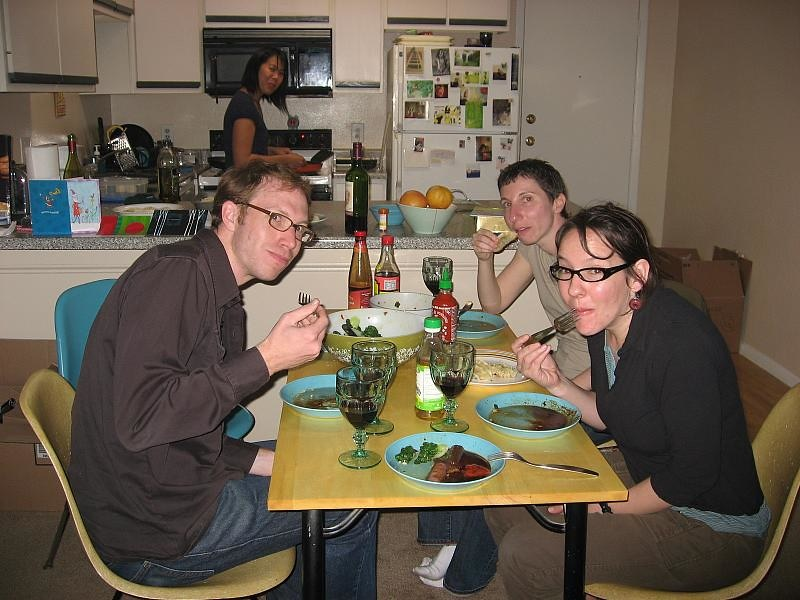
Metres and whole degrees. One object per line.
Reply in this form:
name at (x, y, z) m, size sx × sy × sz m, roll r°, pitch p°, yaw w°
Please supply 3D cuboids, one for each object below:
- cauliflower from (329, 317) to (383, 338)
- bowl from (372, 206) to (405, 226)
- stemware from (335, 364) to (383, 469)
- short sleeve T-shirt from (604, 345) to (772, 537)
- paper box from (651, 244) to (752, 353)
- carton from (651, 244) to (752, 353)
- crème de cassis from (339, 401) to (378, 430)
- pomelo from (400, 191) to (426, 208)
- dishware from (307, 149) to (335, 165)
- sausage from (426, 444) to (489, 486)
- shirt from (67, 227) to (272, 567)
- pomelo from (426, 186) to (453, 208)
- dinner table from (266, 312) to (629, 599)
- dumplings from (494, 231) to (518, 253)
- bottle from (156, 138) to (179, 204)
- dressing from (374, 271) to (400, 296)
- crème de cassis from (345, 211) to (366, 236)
cauliflower at (-0.136, 0.094, 2.046) m, size 0.082 × 0.024 × 0.082 m, roll -3°, pitch 18°, yaw -31°
bowl at (-0.052, -0.411, 3.061) m, size 0.130 × 0.052 × 0.133 m, roll 0°, pitch 23°, yaw 0°
stemware at (-0.097, 0.286, 1.580) m, size 0.119 × 0.220 × 0.119 m, roll 3°, pitch 3°, yaw 13°
short sleeve T-shirt at (0.764, 0.386, 1.898) m, size 0.494 × 0.498 × 0.349 m, roll -2°, pitch 10°, yaw 16°
paper box at (2.025, 0.048, 4.732) m, size 0.553 × 0.717 × 1.036 m, roll -4°, pitch 6°, yaw 1°
carton at (1.510, -0.016, 3.131) m, size 0.369 × 0.479 × 0.669 m, roll -3°, pitch 14°, yaw 0°
crème de cassis at (-0.099, 0.269, 1.534) m, size 0.074 × 0.067 × 0.077 m, roll 0°, pitch -1°, yaw -3°
pomelo at (0.058, -0.456, 2.923) m, size 0.100 × 0.098 × 0.096 m, roll 4°, pitch 7°, yaw 9°
dishware at (-0.692, -1.230, 5.543) m, size 0.130 × 0.047 × 0.200 m, roll -17°, pitch 16°, yaw 21°
sausage at (0.142, 0.387, 1.515) m, size 0.144 × 0.024 × 0.140 m, roll 1°, pitch 14°, yaw 10°
shirt at (-0.588, 0.242, 1.838) m, size 0.516 × 0.809 × 0.635 m, roll 3°, pitch 1°, yaw -2°
pomelo at (0.181, -0.463, 2.907) m, size 0.105 × 0.107 × 0.105 m, roll 3°, pitch 6°, yaw 1°
dinner table at (0.065, 0.342, 1.585) m, size 0.511 × 0.330 × 0.645 m, roll 0°, pitch 15°, yaw -3°
dumplings at (0.430, -0.239, 2.676) m, size 0.040 × 0.097 × 0.113 m, roll 10°, pitch 45°, yaw 45°
bottle at (-1.335, -0.748, 3.705) m, size 0.117 × 0.386 × 0.104 m, roll -2°, pitch 0°, yaw 1°
dressing at (-0.048, -0.061, 2.359) m, size 0.078 × 0.088 × 0.078 m, roll -4°, pitch 7°, yaw -24°
crème de cassis at (-0.211, -0.343, 2.915) m, size 0.126 × 0.142 × 0.126 m, roll 0°, pitch 5°, yaw -11°
